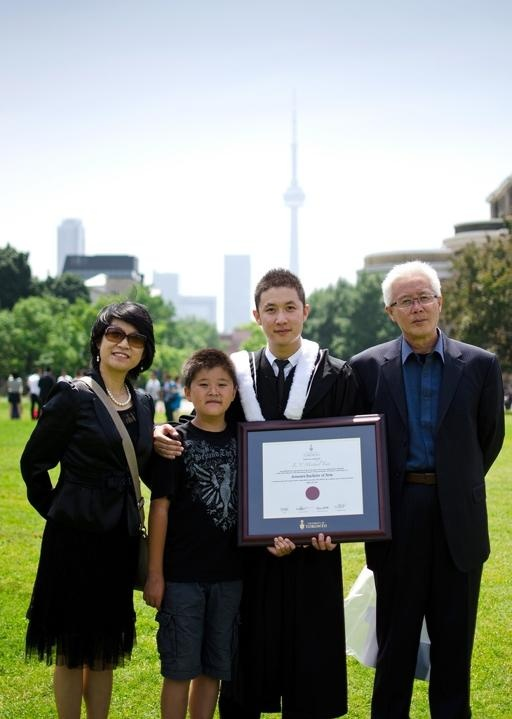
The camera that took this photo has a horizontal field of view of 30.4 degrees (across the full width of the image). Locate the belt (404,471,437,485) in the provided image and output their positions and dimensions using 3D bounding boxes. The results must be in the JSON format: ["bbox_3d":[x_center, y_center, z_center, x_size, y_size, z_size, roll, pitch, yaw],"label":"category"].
[{"bbox_3d":[0.809,0.578,4.578,0.137,0.063,0.022,-2,1,17],"label":"belt"}]

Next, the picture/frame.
[{"bbox_3d":[0.296,0.597,4.544,0.693,0.559,0.068,-3,-15,6],"label":"picture/frame"}]
